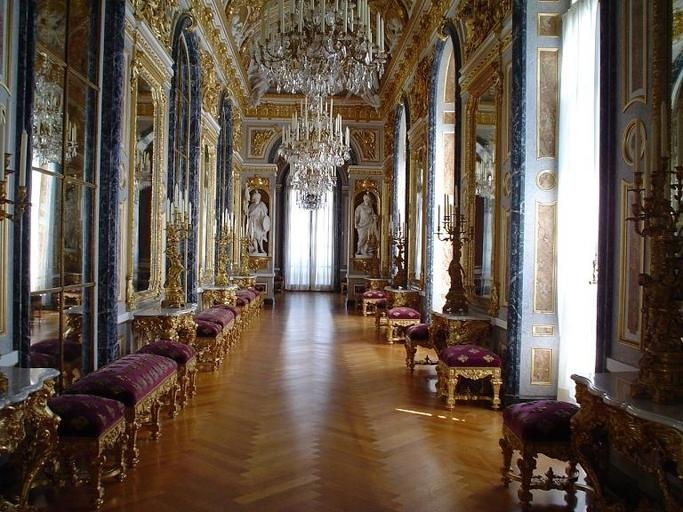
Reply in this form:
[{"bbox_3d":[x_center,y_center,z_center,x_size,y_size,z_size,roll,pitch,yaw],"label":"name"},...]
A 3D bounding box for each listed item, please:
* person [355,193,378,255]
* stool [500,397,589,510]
[{"bbox_3d":[0.705,-0.895,16.071,0.714,1.846,0.264,1,3,0],"label":"person"},{"bbox_3d":[1.433,1.494,4.353,0.581,0.773,0.637,0,-4,-4],"label":"stool"}]
